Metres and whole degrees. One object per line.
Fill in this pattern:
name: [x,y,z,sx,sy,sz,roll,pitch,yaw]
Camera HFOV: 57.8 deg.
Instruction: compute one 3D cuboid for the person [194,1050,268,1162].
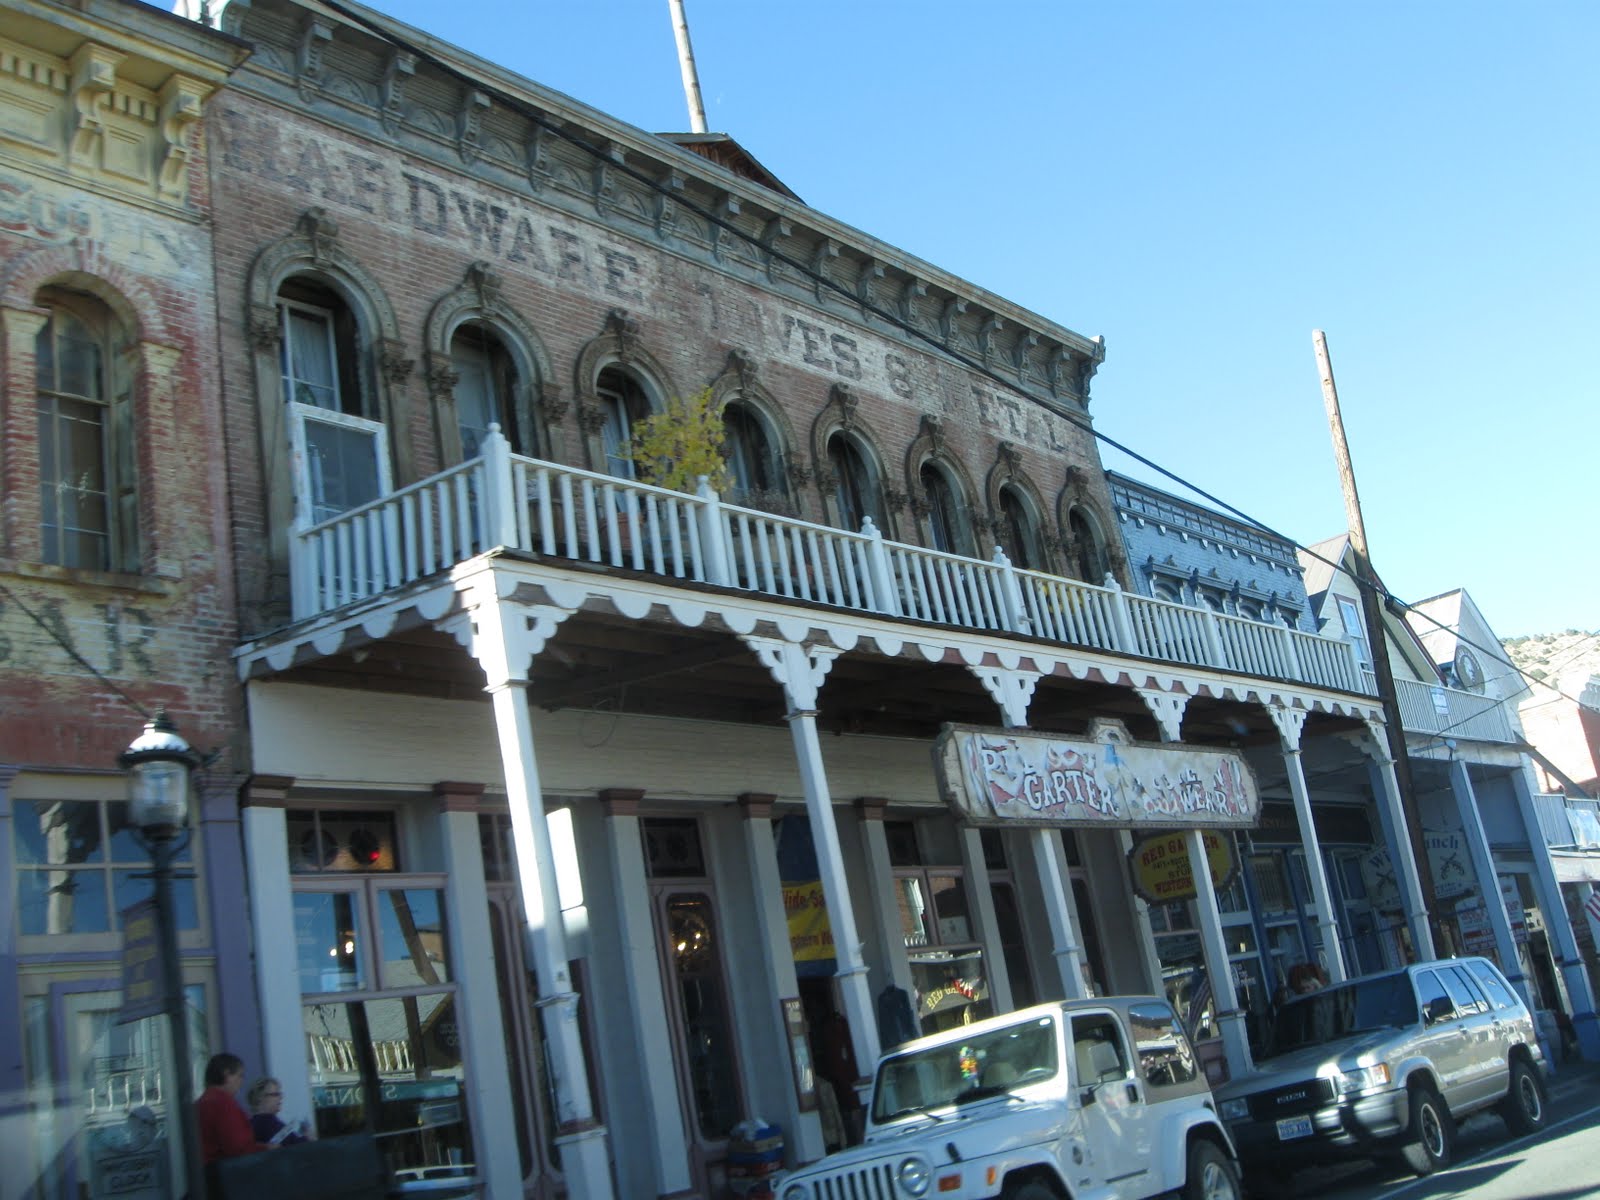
person: [-4.357,3.822,11.021,0.524,0.746,0.746,3,-14,-40]
